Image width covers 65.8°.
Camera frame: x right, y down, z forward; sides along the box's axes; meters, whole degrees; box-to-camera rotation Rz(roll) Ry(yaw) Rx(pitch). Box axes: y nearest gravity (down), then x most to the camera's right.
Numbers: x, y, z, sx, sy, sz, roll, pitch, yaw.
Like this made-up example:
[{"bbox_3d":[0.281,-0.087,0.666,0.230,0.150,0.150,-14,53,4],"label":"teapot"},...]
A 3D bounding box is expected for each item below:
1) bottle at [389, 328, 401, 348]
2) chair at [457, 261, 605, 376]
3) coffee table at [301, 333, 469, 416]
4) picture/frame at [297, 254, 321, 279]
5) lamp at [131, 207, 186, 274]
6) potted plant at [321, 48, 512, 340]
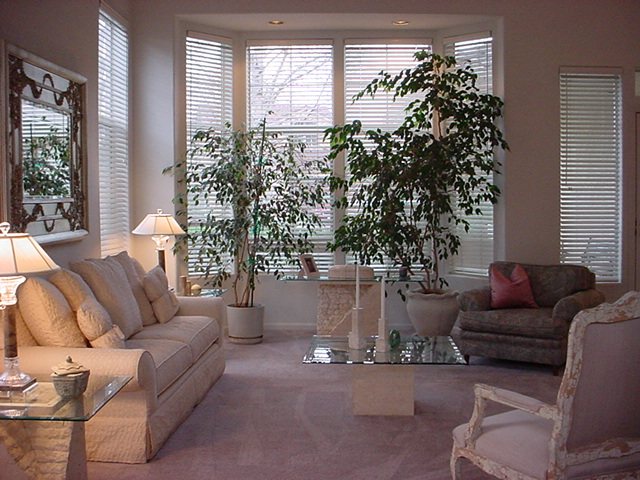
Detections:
[{"bbox_3d":[0.575,0.770,3.887,0.107,0.149,0.113,-1,-1,0],"label":"bottle"},{"bbox_3d":[2.232,0.802,5.282,1.214,1.069,1.207,-3,-4,39],"label":"chair"},{"bbox_3d":[0.485,1.088,3.879,1.171,0.598,0.733,0,5,3],"label":"coffee table"},{"bbox_3d":[-0.147,0.310,5.463,0.248,0.370,0.223,0,-13,-14],"label":"picture/frame"},{"bbox_3d":[-1.678,0.060,5.269,0.577,0.722,0.608,-1,6,-9],"label":"lamp"},{"bbox_3d":[1.293,-0.297,6.090,1.872,2.838,1.438,-2,7,32],"label":"potted plant"}]
